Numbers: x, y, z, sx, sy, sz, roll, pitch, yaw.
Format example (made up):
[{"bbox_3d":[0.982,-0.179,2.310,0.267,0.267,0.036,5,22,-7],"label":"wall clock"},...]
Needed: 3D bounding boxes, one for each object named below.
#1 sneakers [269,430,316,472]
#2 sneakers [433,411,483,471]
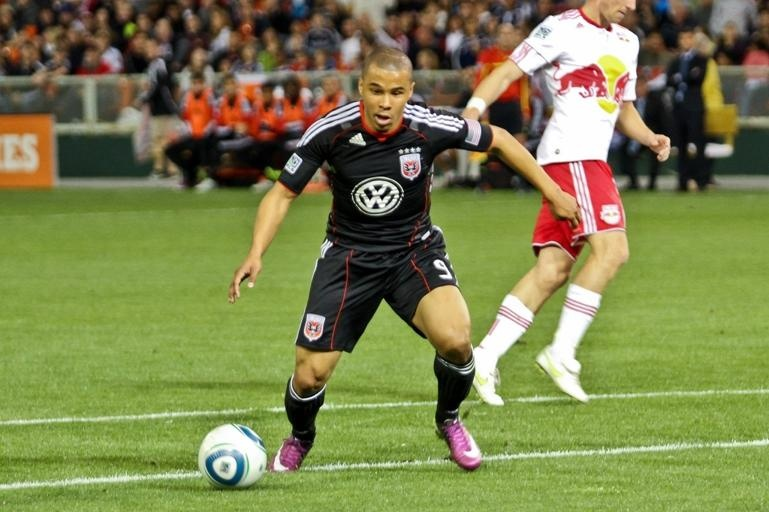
[{"bbox_3d":[-0.630,1.402,8.679,0.400,0.148,0.169,-48,16,-32],"label":"sneakers"},{"bbox_3d":[0.540,1.309,8.704,0.179,0.211,0.488,-32,56,-9],"label":"sneakers"}]
